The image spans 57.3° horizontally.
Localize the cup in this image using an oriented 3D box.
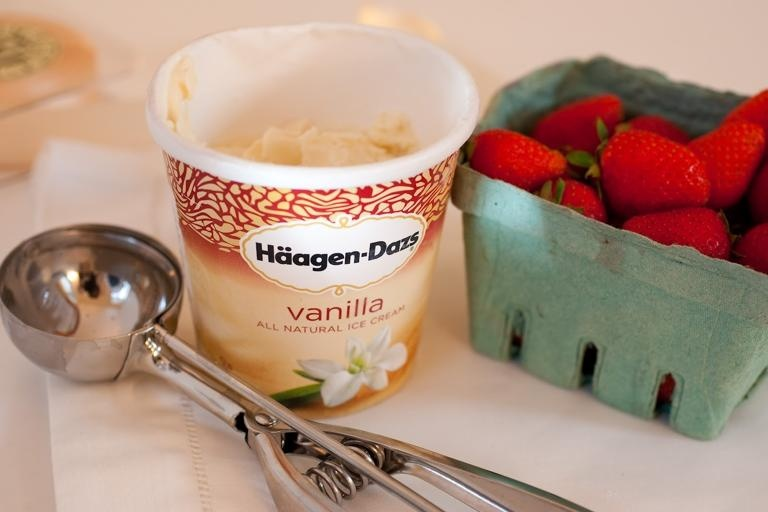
[{"bbox_3d":[-0.072,-0.042,0.665,0.259,0.287,0.253,3,39,-3],"label":"cup"}]
